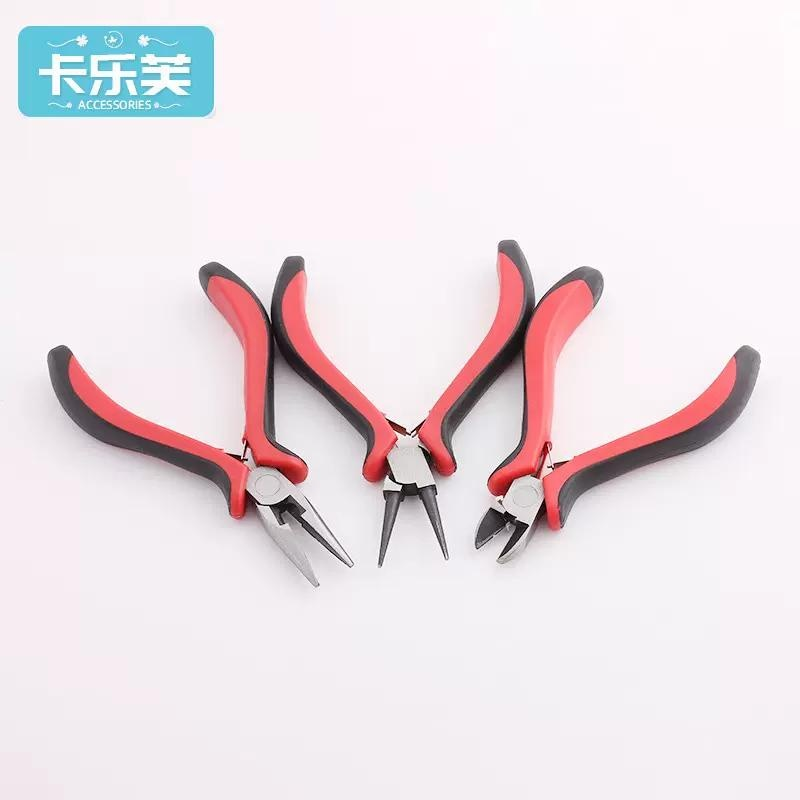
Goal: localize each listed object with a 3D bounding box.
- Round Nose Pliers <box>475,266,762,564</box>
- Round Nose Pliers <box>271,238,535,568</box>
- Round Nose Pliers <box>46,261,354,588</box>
[{"bbox_3d":[0.312,0.067,1.654,0.426,0.126,0.663,21,49,26],"label":"Round Nose Pliers"},{"bbox_3d":[0.004,0.008,1.722,0.330,0.104,0.556,-3,49,-1],"label":"Round Nose Pliers"},{"bbox_3d":[-0.325,0.066,1.653,0.403,0.111,0.704,-18,51,-26],"label":"Round Nose Pliers"}]
